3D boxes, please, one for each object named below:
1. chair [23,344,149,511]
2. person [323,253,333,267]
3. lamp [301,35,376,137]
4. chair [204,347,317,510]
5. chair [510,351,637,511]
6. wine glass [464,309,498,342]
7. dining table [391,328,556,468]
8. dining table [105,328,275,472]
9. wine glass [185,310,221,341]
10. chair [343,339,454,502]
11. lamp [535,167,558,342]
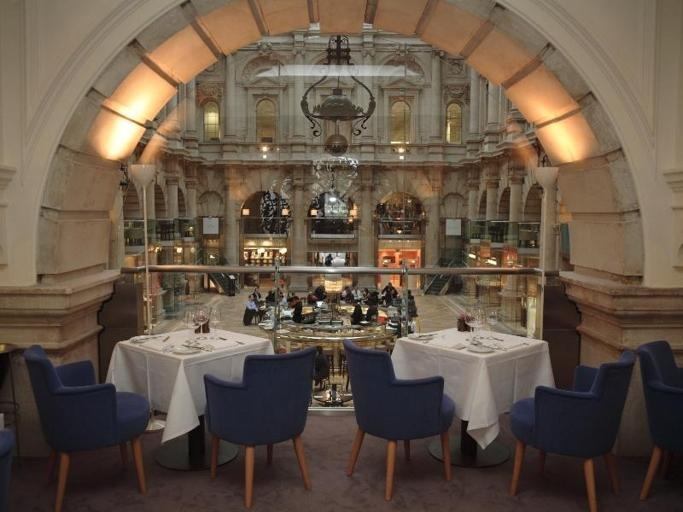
[{"bbox_3d":[-1.831,1.243,4.252,1.013,1.322,1.002,0,6,-21],"label":"chair"},{"bbox_3d":[-0.589,0.175,21.642,0.377,0.405,0.909,1,20,3],"label":"person"},{"bbox_3d":[-0.045,-2.178,6.647,0.829,1.385,0.743,1,-6,-4],"label":"lamp"},{"bbox_3d":[-0.607,1.137,4.225,0.959,1.353,0.930,1,1,-40],"label":"chair"},{"bbox_3d":[1.715,1.161,4.138,0.974,1.261,0.965,-1,-3,28],"label":"chair"},{"bbox_3d":[1.195,0.611,4.675,0.220,0.375,0.238,-4,-2,-2],"label":"wine glass"},{"bbox_3d":[1.089,0.895,4.464,1.061,0.863,1.060,-7,8,-41],"label":"dining table"},{"bbox_3d":[-1.269,1.121,4.496,1.049,0.996,1.074,6,9,44],"label":"dining table"},{"bbox_3d":[-1.245,0.604,4.655,0.217,0.186,0.234,2,0,6],"label":"wine glass"},{"bbox_3d":[0.407,1.194,4.447,0.930,1.326,0.947,-1,2,-31],"label":"chair"},{"bbox_3d":[2.149,-0.104,5.598,0.279,1.708,1.242,3,8,22],"label":"lamp"}]
